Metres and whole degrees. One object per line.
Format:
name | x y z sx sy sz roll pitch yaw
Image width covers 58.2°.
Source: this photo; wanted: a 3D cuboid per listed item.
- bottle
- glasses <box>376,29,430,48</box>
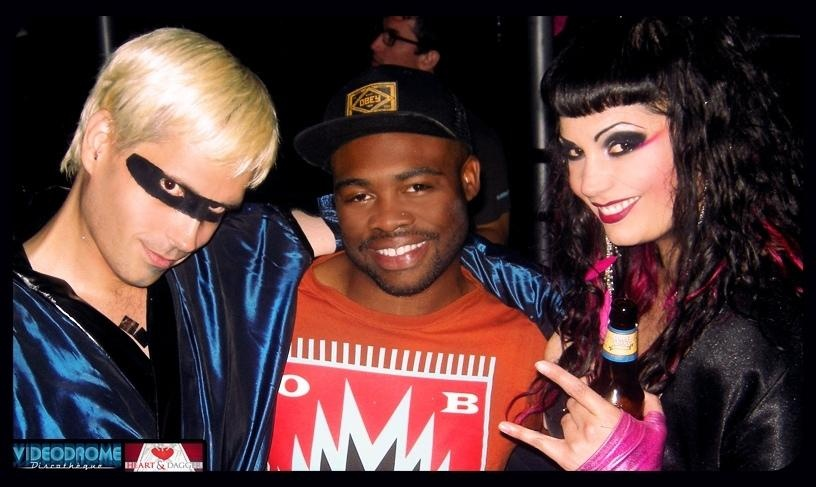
bottle | 1.149 0.622 3.976 0.269 0.668 0.378 -1 6 15
glasses | -0.033 -1.383 4.996 0.194 0.057 0.152 10 -7 -11
